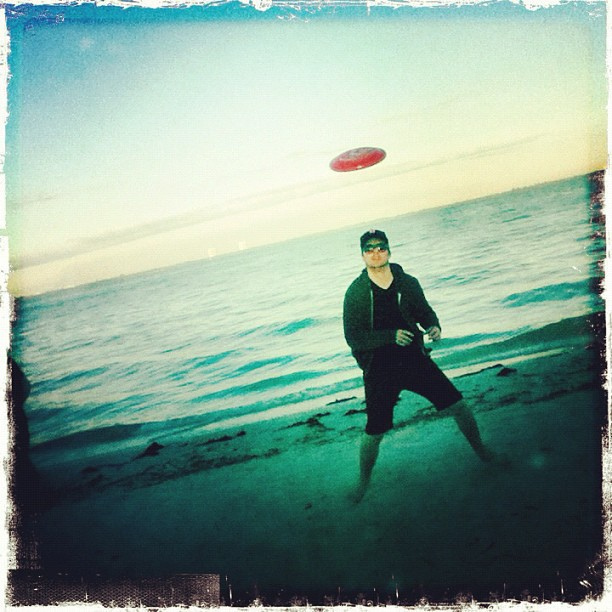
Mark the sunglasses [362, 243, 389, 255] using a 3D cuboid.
[{"bbox_3d":[0.597,-0.503,7.585,0.145,0.111,0.038,-3,22,3],"label":"sunglasses"}]

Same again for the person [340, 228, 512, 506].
[{"bbox_3d":[0.782,0.494,7.566,1.288,2.310,0.492,-9,8,-1],"label":"person"}]
